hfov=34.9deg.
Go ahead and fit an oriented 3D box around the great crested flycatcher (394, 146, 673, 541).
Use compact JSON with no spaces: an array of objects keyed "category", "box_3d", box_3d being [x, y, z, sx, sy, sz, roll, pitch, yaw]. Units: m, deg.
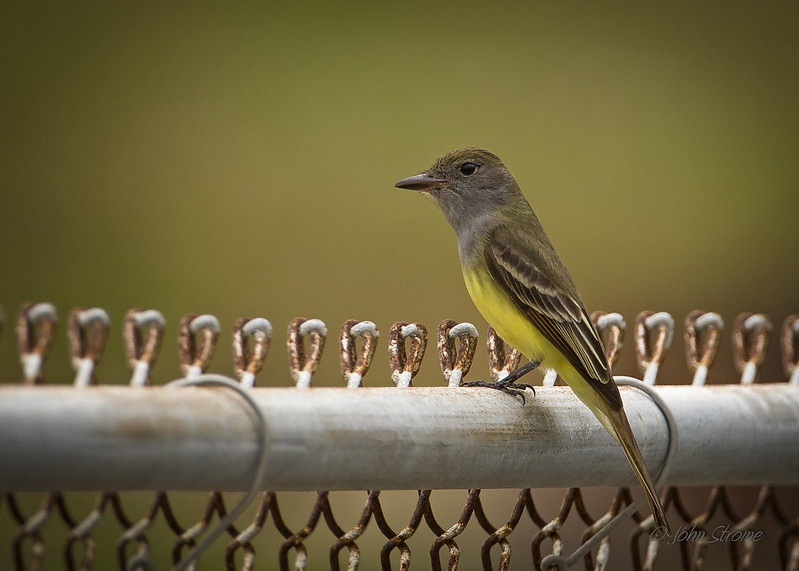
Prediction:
[{"category":"great crested flycatcher","box_3d":[0.541,0.179,5.145,1.036,1.702,0.455,-13,-20,33]}]
